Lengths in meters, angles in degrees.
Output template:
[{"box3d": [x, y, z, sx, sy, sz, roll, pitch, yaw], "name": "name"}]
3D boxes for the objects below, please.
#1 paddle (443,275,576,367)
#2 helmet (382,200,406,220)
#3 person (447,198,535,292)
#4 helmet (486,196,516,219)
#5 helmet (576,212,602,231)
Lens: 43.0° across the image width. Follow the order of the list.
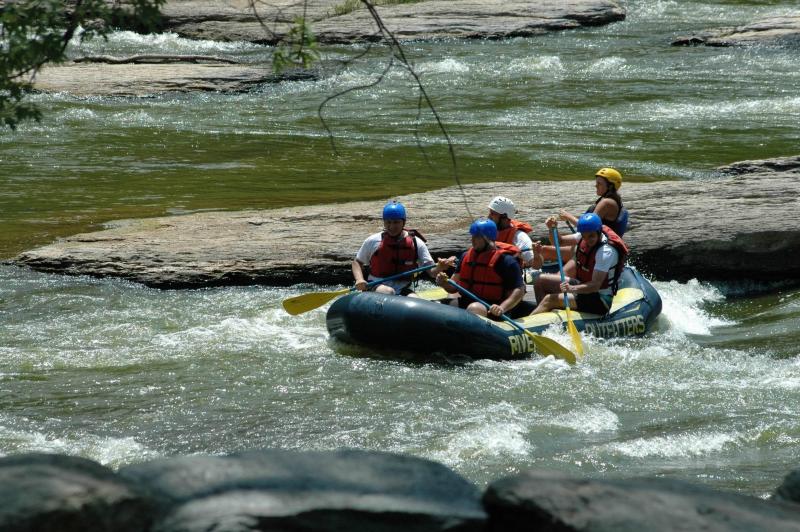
[{"box3d": [1.463, 0.778, 13.846, 3.005, 0.247, 0.170, 22, 30, 11], "name": "paddle"}, {"box3d": [-0.059, -0.767, 14.333, 0.275, 0.246, 0.260, -3, 14, 18], "name": "helmet"}, {"box3d": [1.362, -0.272, 14.914, 1.172, 1.618, 1.137, -13, 40, 2], "name": "person"}, {"box3d": [1.515, -0.871, 15.159, 0.359, 0.343, 0.397, -7, 13, 4], "name": "helmet"}, {"box3d": [2.665, -0.621, 14.304, 0.355, 0.188, 0.330, -5, -28, 14], "name": "helmet"}]
